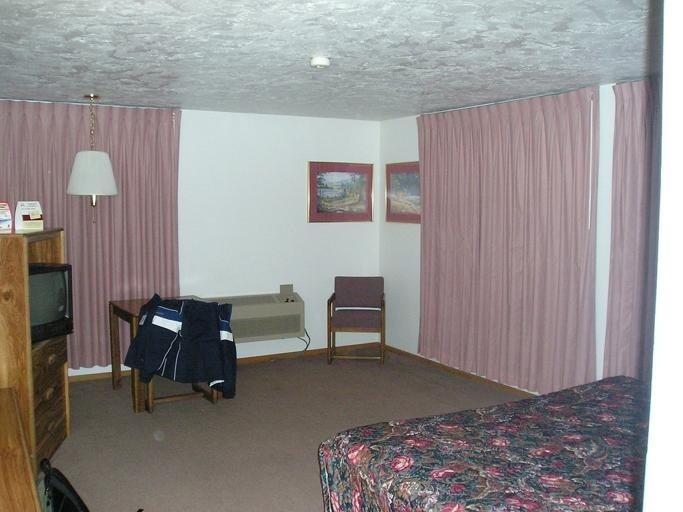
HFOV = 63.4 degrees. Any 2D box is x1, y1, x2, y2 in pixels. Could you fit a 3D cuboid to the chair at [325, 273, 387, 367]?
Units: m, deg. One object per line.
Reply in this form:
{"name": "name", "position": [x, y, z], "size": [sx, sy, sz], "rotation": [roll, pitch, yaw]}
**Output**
{"name": "chair", "position": [0.177, 0.813, 6.880], "size": [0.704, 1.031, 0.740], "rotation": [0, 9, 0]}

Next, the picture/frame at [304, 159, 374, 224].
{"name": "picture/frame", "position": [-0.071, -0.845, 7.206], "size": [0.930, 0.708, 0.057], "rotation": [-4, 8, -24]}

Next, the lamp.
{"name": "lamp", "position": [-2.510, -1.026, 5.536], "size": [0.456, 1.127, 0.932], "rotation": [-4, 10, -22]}

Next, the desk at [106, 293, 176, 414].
{"name": "desk", "position": [-2.210, 0.923, 5.611], "size": [0.865, 1.140, 0.984], "rotation": [-2, 3, -32]}

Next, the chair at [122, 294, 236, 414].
{"name": "chair", "position": [-1.507, 0.950, 5.141], "size": [1.114, 0.925, 0.484], "rotation": [4, 12, -4]}

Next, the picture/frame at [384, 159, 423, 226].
{"name": "picture/frame", "position": [0.801, -0.810, 7.007], "size": [0.035, 0.868, 0.918], "rotation": [-5, 7, -32]}
